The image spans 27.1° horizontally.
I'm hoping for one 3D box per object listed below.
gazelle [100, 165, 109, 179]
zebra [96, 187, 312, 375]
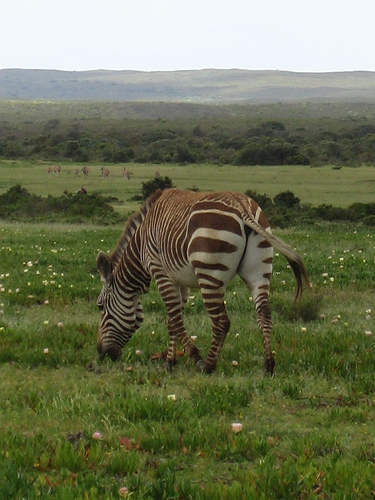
[{"bbox_3d":[-4.666,-4.460,45.130,0.286,0.681,1.152,-2,21,-14],"label":"gazelle"},{"bbox_3d":[0.041,0.403,8.428,3.059,2.050,0.793,-9,-3,44],"label":"zebra"}]
